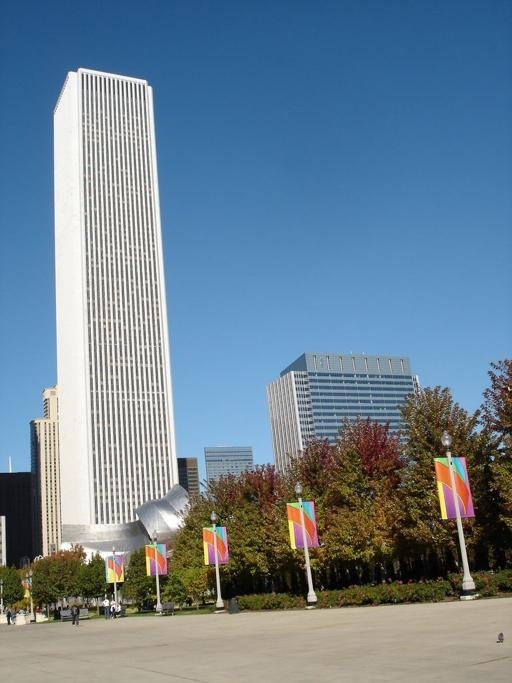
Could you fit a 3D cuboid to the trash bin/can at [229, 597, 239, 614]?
[{"bbox_3d":[-1.146,14.017,35.086,0.494,0.824,1.176,-5,-13,-9],"label":"trash bin/can"}]
